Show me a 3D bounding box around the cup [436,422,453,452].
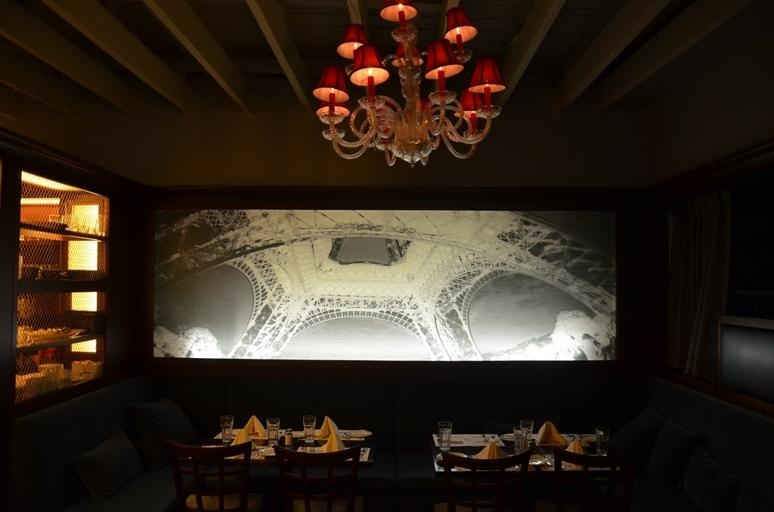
[{"bbox_3d":[0.500,1.581,4.593,0.188,0.297,0.192,1,-8,0],"label":"cup"}]

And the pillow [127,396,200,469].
[{"bbox_3d":[-2.178,1.641,5.027,0.251,0.630,0.634,-34,-19,30],"label":"pillow"}]

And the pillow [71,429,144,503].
[{"bbox_3d":[-2.424,1.830,4.522,0.159,0.405,0.405,-44,-12,29],"label":"pillow"}]

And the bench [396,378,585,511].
[{"bbox_3d":[0.914,1.545,5.218,2.012,1.333,1.024,-1,-15,1],"label":"bench"}]

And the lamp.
[{"bbox_3d":[0.154,-1.484,4.430,1.340,1.460,1.385,-2,-14,5],"label":"lamp"}]

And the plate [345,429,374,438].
[{"bbox_3d":[-0.270,1.626,4.763,0.186,0.031,0.099,0,-3,1],"label":"plate"}]

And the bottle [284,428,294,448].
[{"bbox_3d":[-0.866,1.602,4.574,0.093,0.153,0.093,-1,-14,0],"label":"bottle"}]

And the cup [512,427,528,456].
[{"bbox_3d":[1.140,1.580,4.455,0.175,0.265,0.176,-1,-6,0],"label":"cup"}]
